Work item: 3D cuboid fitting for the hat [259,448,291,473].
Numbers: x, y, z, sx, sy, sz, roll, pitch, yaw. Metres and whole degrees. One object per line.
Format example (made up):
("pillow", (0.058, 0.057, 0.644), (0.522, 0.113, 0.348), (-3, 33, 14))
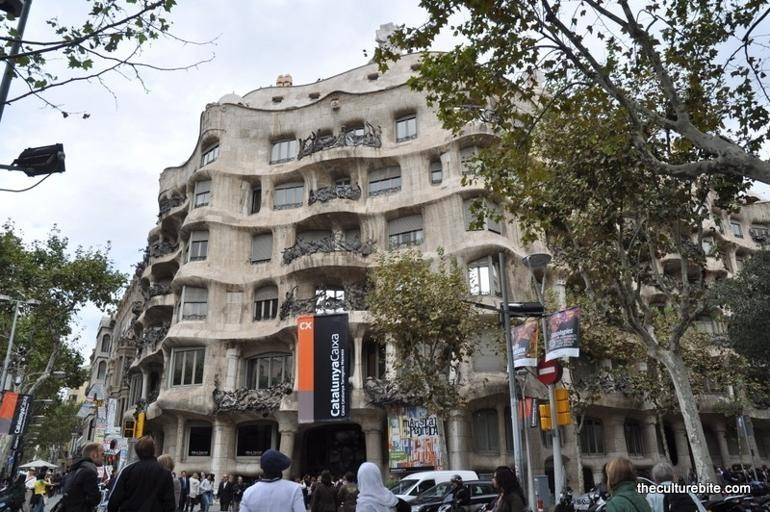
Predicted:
("hat", (-1.742, 3.299, 8.837), (0.429, 0.354, 0.351), (9, -26, -24))
